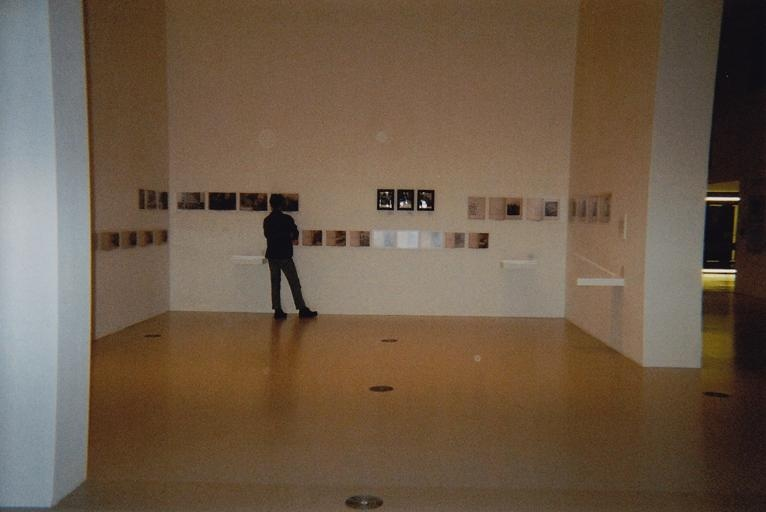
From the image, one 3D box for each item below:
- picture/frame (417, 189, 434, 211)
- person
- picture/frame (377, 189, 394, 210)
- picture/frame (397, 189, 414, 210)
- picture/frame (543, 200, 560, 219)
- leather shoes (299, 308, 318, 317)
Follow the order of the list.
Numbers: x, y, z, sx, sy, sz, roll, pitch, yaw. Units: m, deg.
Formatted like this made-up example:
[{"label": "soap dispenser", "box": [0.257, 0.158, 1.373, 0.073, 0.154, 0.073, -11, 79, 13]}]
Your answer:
[{"label": "picture/frame", "box": [0.372, -0.493, 4.923, 0.164, 0.201, 0.023, 1, 13, 9]}, {"label": "person", "box": [-0.864, 0.025, 5.218, 0.513, 1.164, 0.387, -2, 5, -29]}, {"label": "picture/frame", "box": [0.020, -0.486, 4.951, 0.163, 0.206, 0.021, 0, -3, 2]}, {"label": "picture/frame", "box": [0.199, -0.482, 4.935, 0.164, 0.201, 0.022, 1, 4, 2]}, {"label": "picture/frame", "box": [1.370, -0.385, 4.616, 0.142, 0.177, 0.025, 1, 8, 4]}, {"label": "leather shoes", "box": [-0.711, 0.536, 5.354, 0.143, 0.104, 0.078, -2, 3, -4]}]
